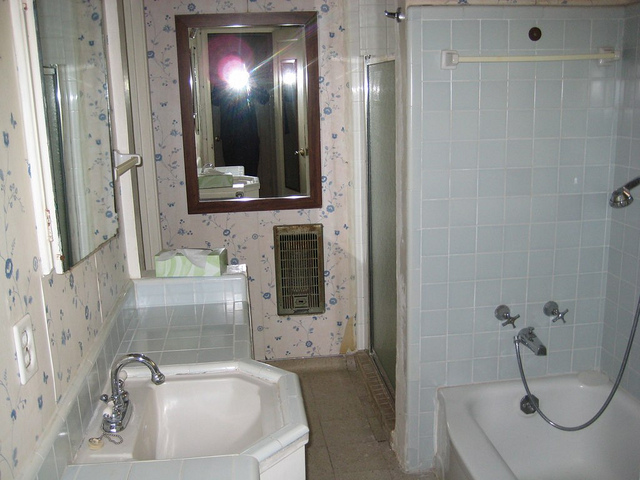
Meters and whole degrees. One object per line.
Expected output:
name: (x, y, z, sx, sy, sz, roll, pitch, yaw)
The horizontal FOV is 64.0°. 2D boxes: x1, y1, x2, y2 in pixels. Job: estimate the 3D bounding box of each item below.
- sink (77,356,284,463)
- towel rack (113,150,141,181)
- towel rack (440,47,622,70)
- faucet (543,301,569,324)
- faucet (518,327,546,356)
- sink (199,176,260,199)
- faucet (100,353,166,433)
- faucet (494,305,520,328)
sink: (-0.466, 0.637, 1.942, 0.460, 0.170, 0.452, -2, 23, -10)
towel rack: (-0.916, -0.351, 2.429, 0.132, 0.054, 0.112, 19, 28, 38)
towel rack: (0.982, -0.837, 2.356, 0.875, 0.115, 0.058, -5, 14, -6)
faucet: (1.182, 0.360, 2.577, 0.113, 0.080, 0.036, 49, 19, 22)
faucet: (1.030, 0.492, 2.492, 0.082, 0.095, 0.179, -6, 12, -1)
sink: (-0.599, -0.356, 3.536, 0.260, 0.115, 0.207, -2, 11, -6)
faucet: (-0.654, 0.506, 1.789, 0.187, 0.255, 0.187, 0, 17, -17)
faucet: (0.921, 0.375, 2.529, 0.088, 0.121, 0.043, -38, -2, 9)
